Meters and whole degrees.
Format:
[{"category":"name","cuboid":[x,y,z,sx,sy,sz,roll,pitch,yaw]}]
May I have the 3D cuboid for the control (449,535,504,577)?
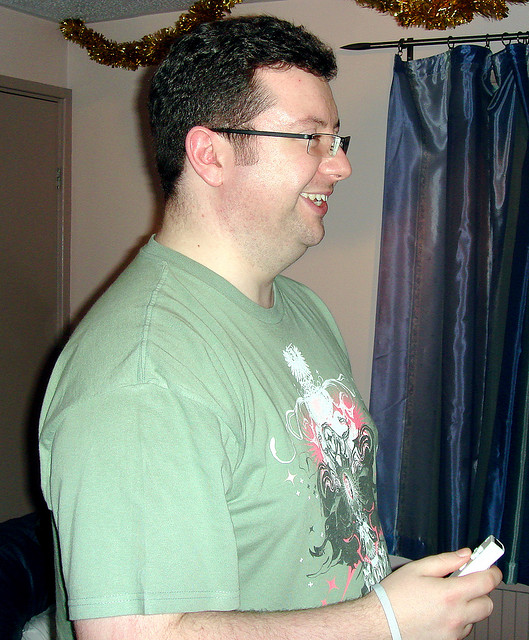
[{"category":"control","cuboid":[0.280,0.314,0.854,0.061,0.015,0.062,-44,2,12]}]
